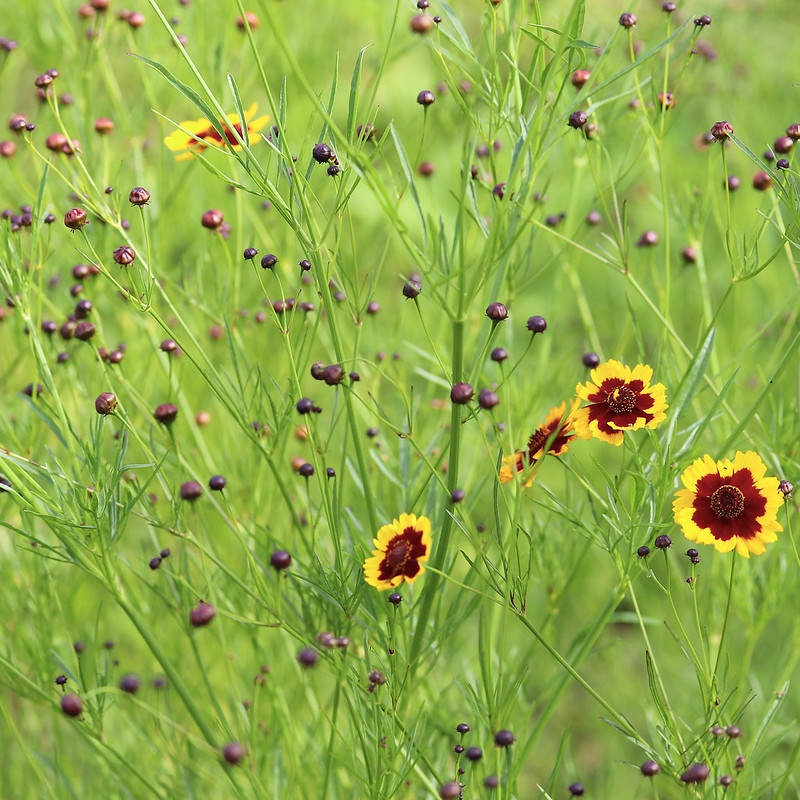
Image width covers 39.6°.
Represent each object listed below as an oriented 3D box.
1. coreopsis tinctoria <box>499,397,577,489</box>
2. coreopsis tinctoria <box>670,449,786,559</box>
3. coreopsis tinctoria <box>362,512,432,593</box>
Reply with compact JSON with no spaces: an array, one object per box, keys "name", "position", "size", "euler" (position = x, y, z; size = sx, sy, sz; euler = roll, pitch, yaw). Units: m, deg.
[{"name":"coreopsis tinctoria","position":[0.172,0.059,1.381],"size":[0.032,0.109,0.116],"euler":[41,71,-8]},{"name":"coreopsis tinctoria","position":[0.383,0.132,1.284],"size":[0.133,0.123,0.057],"euler":[-23,96,-40]},{"name":"coreopsis tinctoria","position":[-0.004,0.178,1.322],"size":[0.080,0.073,0.105],"euler":[-4,58,0]}]
